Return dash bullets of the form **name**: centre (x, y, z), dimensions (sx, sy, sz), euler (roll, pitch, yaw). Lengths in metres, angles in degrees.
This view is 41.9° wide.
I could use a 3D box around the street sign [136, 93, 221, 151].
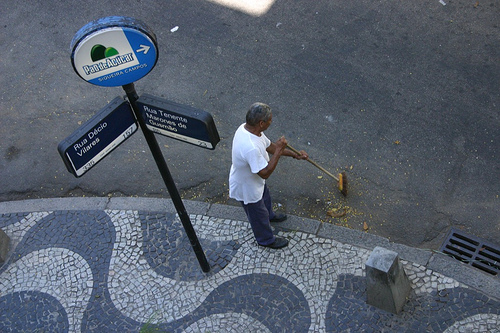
- **street sign**: centre (-1.196, -0.735, 10.791), dimensions (1.450, 0.623, 0.228), euler (19, 39, 11)
